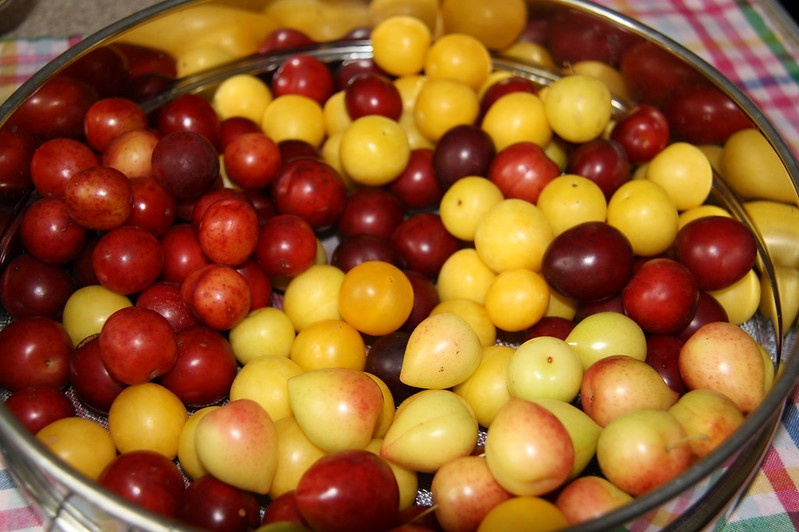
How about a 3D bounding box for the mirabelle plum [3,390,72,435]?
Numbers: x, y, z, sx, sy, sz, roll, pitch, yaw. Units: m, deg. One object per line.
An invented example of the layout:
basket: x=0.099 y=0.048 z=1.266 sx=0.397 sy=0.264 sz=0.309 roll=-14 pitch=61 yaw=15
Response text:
mirabelle plum: x=-0.677 y=0.266 z=1.438 sx=0.096 sy=0.079 sz=0.088 roll=7 pitch=90 yaw=-18
